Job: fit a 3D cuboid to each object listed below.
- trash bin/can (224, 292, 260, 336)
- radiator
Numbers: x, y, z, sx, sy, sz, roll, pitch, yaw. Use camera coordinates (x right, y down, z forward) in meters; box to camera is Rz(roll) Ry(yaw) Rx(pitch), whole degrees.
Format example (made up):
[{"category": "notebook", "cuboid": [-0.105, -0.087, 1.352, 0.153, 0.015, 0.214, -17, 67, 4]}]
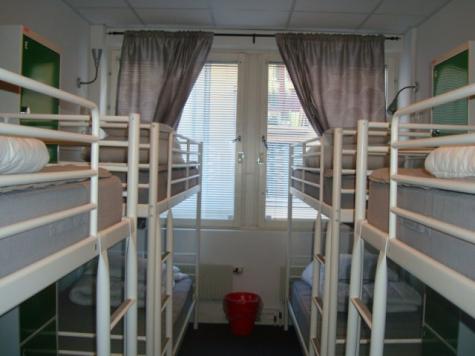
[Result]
[{"category": "trash bin/can", "cuboid": [0.048, 1.387, 3.851, 0.390, 0.339, 0.374, 6, -8, -41]}, {"category": "radiator", "cuboid": [-0.315, 1.078, 3.975, 0.049, 0.364, 0.582, -5, -16, 36]}]
